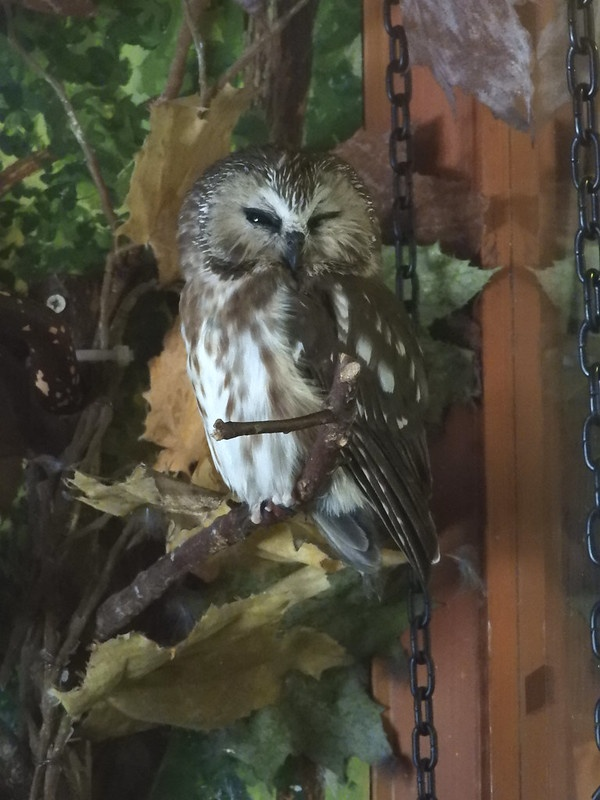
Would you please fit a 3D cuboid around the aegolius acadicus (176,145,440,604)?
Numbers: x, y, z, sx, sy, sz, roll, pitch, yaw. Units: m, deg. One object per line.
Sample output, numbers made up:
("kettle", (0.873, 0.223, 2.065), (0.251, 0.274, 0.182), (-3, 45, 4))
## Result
("aegolius acadicus", (0.009, -0.053, 1.607), (0.321, 0.575, 0.294), (-10, 14, 0))
